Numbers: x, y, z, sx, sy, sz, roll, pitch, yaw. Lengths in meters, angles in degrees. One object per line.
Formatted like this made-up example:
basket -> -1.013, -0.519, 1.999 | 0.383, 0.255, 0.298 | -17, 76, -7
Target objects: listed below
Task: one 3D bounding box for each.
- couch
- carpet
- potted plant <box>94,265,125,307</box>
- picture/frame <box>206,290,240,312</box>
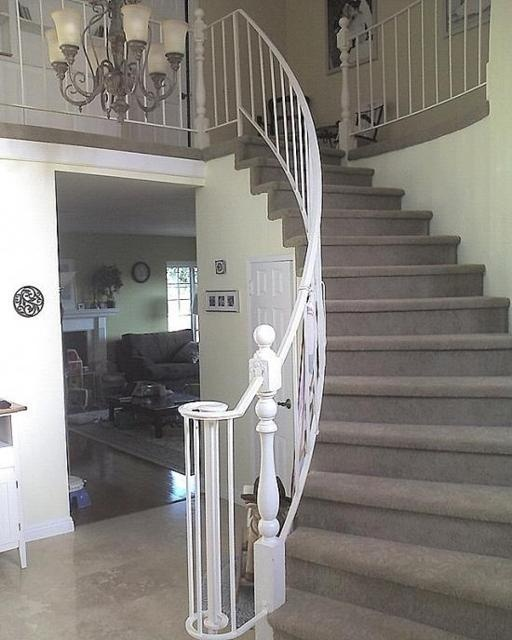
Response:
couch -> -1.550, 0.584, 8.402 | 1.050, 0.925, 0.771 | -1, -2, -39
carpet -> -1.307, 1.425, 6.100 | 0.818, 0.060, 2.528 | -1, 0, -43
potted plant -> -2.377, -0.540, 8.420 | 0.496, 0.704, 0.229 | -8, 12, -38
picture/frame -> -0.279, -0.142, 4.333 | 0.022, 0.180, 0.437 | -2, 1, -40
